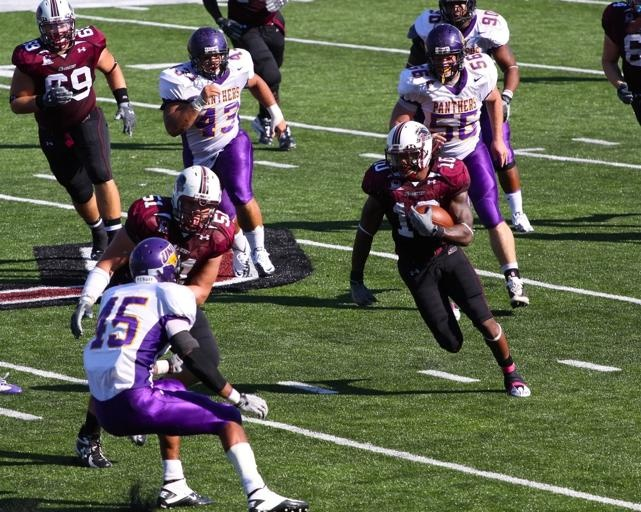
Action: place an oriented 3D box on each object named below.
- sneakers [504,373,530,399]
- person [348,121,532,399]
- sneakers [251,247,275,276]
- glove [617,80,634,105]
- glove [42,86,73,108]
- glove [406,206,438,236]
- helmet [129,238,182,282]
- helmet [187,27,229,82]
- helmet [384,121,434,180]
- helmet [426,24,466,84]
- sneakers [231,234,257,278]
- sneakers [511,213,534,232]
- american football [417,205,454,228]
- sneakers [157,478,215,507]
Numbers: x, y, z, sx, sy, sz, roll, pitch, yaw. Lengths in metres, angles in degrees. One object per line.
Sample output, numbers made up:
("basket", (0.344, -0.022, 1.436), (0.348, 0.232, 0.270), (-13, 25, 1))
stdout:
("sneakers", (1.078, 0.689, 6.340), (0.160, 0.122, 0.144), (-1, 15, -13))
("person", (0.657, -0.034, 6.574), (0.584, 1.377, 1.309), (-7, 17, -30))
("sneakers", (-0.384, 0.045, 8.227), (0.104, 0.228, 0.105), (-32, -3, -26))
("glove", (2.334, -1.269, 9.197), (0.088, 0.177, 0.144), (-24, -3, 21))
("glove", (-1.781, -1.076, 8.015), (0.189, 0.121, 0.083), (-13, -20, 4))
("glove", (0.541, -0.179, 6.343), (0.146, 0.182, 0.209), (1, 15, -7))
("helmet", (-0.752, 0.016, 5.298), (0.169, 0.170, 0.224), (4, 13, 27))
("helmet", (-0.736, -1.330, 7.756), (0.273, 0.294, 0.335), (-14, 53, -11))
("helmet", (0.485, -0.575, 6.466), (0.251, 0.247, 0.320), (-2, 19, 26))
("helmet", (0.775, -1.250, 7.318), (0.244, 0.360, 0.230), (4, 15, 4))
("sneakers", (-0.543, 0.018, 8.258), (0.131, 0.348, 0.157), (-18, 4, 7))
("sneakers", (1.539, -0.251, 9.046), (0.097, 0.101, 0.237), (-10, 8, -9))
("american football", (0.635, -0.218, 6.364), (0.177, 0.099, 0.117), (25, 4, -20))
("sneakers", (-0.628, 1.065, 5.304), (0.287, 0.107, 0.094), (-1, 2, -21))
